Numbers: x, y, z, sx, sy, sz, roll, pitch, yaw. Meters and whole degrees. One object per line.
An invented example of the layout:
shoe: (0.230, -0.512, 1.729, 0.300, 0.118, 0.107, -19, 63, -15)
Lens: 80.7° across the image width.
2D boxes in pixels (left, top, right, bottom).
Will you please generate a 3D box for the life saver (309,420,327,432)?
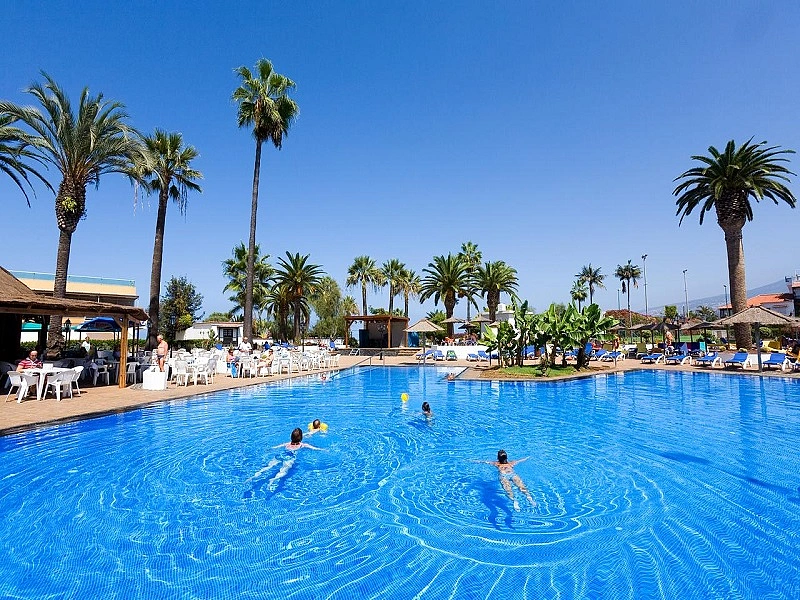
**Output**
life saver: (-2.189, 3.287, 12.121, 0.353, 0.097, 0.365, -4, -6, 36)

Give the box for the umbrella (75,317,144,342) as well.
umbrella: (-16.425, 1.723, 26.256, 2.692, 1.054, 2.658, 2, -6, -30)

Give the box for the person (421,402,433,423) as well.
person: (0.772, 3.211, 13.486, 0.276, 0.480, 0.799, 0, 5, 3)

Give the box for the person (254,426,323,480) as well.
person: (-2.507, 3.393, 10.072, 1.136, 0.582, 1.684, -5, 14, 20)
